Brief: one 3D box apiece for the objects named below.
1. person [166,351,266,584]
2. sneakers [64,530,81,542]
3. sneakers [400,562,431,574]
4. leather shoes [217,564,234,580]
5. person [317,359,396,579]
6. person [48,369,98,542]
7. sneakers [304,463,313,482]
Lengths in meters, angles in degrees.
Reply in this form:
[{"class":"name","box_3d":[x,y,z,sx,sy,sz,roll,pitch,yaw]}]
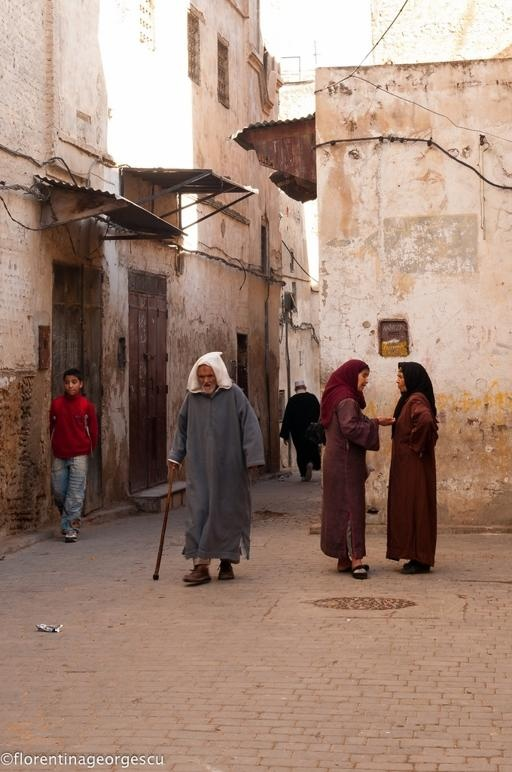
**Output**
[{"class":"person","box_3d":[-0.290,0.581,6.694,0.664,1.606,0.640,-1,2,-7]},{"class":"sneakers","box_3d":[-1.783,1.435,8.951,0.127,0.116,0.150,-2,2,-21]},{"class":"sneakers","box_3d":[1.167,1.293,6.760,0.182,0.102,0.087,-4,6,-17]},{"class":"leather shoes","box_3d":[-0.219,1.345,6.732,0.071,0.096,0.197,0,-10,0]},{"class":"person","box_3d":[0.698,0.588,6.676,0.483,1.539,0.409,-1,2,11]},{"class":"person","box_3d":[-1.812,0.661,9.221,0.476,1.646,0.566,-2,2,-15]},{"class":"sneakers","box_3d":[0.969,1.565,16.826,0.095,0.380,0.136,1,-2,1]}]
